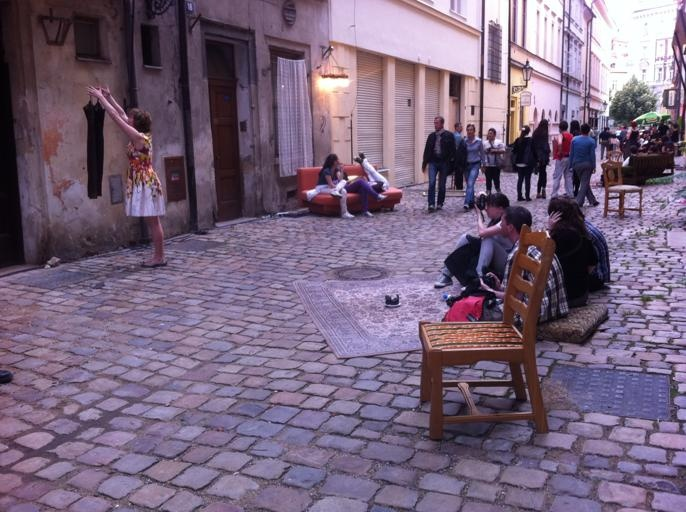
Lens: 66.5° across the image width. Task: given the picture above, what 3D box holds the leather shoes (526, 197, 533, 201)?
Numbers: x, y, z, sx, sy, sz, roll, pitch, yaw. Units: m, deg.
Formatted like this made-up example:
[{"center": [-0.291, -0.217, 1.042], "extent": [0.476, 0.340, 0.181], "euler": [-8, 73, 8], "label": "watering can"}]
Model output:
[{"center": [5.276, -1.589, 14.837], "extent": [0.196, 0.144, 0.101], "euler": [-3, 4, -31], "label": "leather shoes"}]

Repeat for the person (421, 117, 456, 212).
[{"center": [2.417, -2.276, 13.183], "extent": [0.722, 2.238, 0.736], "euler": [1, 9, 3], "label": "person"}]

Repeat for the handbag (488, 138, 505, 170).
[{"center": [4.396, -2.847, 14.916], "extent": [0.352, 0.738, 0.642], "euler": [3, 14, 15], "label": "handbag"}]

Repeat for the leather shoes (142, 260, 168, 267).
[{"center": [-2.859, 0.112, 7.910], "extent": [0.334, 0.134, 0.126], "euler": [3, 3, -6], "label": "leather shoes"}]

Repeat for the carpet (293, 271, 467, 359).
[{"center": [0.514, 0.595, 6.139], "extent": [1.924, 0.083, 2.198], "euler": [-1, 18, -18], "label": "carpet"}]

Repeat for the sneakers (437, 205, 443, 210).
[{"center": [2.483, -1.229, 13.451], "extent": [0.121, 0.140, 0.341], "euler": [-1, 2, 14], "label": "sneakers"}]

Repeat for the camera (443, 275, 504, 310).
[{"center": [1.417, 0.424, 5.322], "extent": [0.421, 0.177, 0.320], "euler": [-16, 32, -15], "label": "camera"}]

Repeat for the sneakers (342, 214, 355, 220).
[{"center": [0.122, -0.949, 12.308], "extent": [0.290, 0.115, 0.299], "euler": [-2, 14, -5], "label": "sneakers"}]

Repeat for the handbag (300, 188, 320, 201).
[{"center": [-0.797, -1.449, 12.670], "extent": [0.323, 0.146, 0.323], "euler": [-21, 30, -26], "label": "handbag"}]

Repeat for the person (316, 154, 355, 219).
[{"center": [-0.167, -1.669, 12.523], "extent": [0.967, 1.407, 0.707], "euler": [10, 18, 39], "label": "person"}]

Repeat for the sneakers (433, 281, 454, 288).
[{"center": [1.295, 0.357, 6.751], "extent": [0.232, 0.103, 0.091], "euler": [0, -3, -36], "label": "sneakers"}]

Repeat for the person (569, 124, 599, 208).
[{"center": [5.919, -2.168, 12.719], "extent": [0.641, 1.987, 0.503], "euler": [0, 17, 22], "label": "person"}]

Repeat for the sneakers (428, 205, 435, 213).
[{"center": [2.212, -1.180, 13.109], "extent": [0.185, 0.167, 0.345], "euler": [1, 14, 9], "label": "sneakers"}]

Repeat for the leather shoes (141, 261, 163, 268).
[{"center": [-2.895, 0.121, 7.910], "extent": [0.286, 0.114, 0.127], "euler": [3, 4, -7], "label": "leather shoes"}]

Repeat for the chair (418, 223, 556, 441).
[{"center": [1.042, 0.523, 3.870], "extent": [1.050, 1.355, 0.990], "euler": [-4, 6, -11], "label": "chair"}]

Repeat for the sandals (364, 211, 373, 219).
[{"center": [0.594, -0.985, 12.566], "extent": [0.091, 0.111, 0.245], "euler": [-10, 16, -38], "label": "sandals"}]

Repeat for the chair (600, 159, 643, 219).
[{"center": [6.230, -1.495, 11.662], "extent": [0.809, 1.186, 0.763], "euler": [-8, 10, -37], "label": "chair"}]

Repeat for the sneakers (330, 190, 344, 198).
[{"center": [-0.146, -1.422, 12.280], "extent": [0.324, 0.118, 0.231], "euler": [10, 16, 7], "label": "sneakers"}]

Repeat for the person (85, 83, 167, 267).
[{"center": [-3.276, -1.219, 8.067], "extent": [0.782, 2.604, 1.328], "euler": [-7, 15, -25], "label": "person"}]
